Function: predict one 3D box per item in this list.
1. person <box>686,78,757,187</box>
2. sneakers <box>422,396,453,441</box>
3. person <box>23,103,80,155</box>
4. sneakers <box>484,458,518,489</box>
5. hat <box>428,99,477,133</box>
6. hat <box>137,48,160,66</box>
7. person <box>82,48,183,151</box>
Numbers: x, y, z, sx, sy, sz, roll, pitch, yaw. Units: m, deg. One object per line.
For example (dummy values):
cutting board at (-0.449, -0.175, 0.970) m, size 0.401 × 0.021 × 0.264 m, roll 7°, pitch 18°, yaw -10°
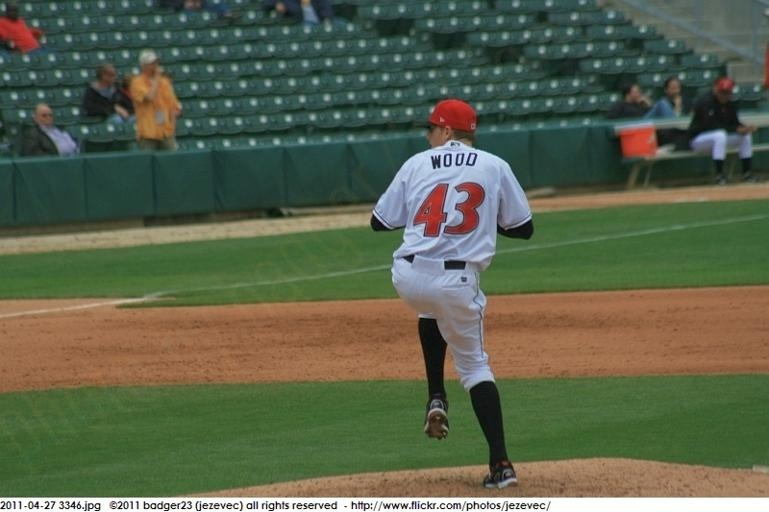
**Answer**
person at (3.853, -1.460, 17.785) m, size 0.385 × 1.202 × 0.802 m, roll -19°, pitch 21°, yaw -39°
sneakers at (0.440, 1.438, 13.582) m, size 0.244 × 0.534 × 0.258 m, roll -4°, pitch 54°, yaw 2°
person at (-3.904, -1.455, 18.027) m, size 0.629 × 0.600 × 0.753 m, roll -7°, pitch 16°, yaw -8°
sneakers at (0.977, 1.895, 13.197) m, size 0.144 × 0.169 × 0.372 m, roll -3°, pitch -3°, yaw -16°
hat at (0.539, -1.258, 13.605) m, size 0.513 × 0.257 × 0.347 m, roll 3°, pitch 8°, yaw 18°
hat at (-2.721, -2.297, 17.850) m, size 0.180 × 0.153 × 0.151 m, roll -9°, pitch 16°, yaw -14°
person at (-2.896, -1.854, 18.310) m, size 0.936 × 1.222 × 0.551 m, roll 11°, pitch 22°, yaw 43°
